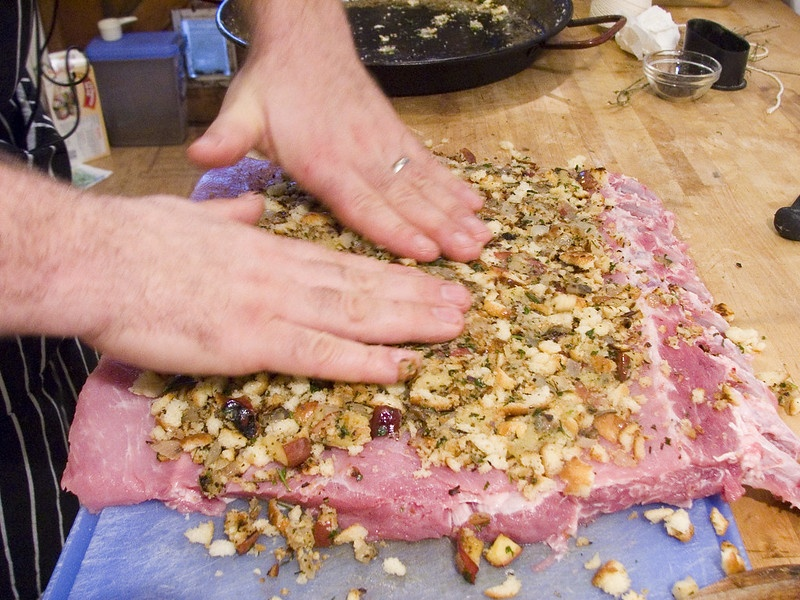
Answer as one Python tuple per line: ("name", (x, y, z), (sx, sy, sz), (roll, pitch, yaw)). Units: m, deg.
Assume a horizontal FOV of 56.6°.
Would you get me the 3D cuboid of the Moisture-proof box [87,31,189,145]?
("Moisture-proof box", (-0.761, -0.635, 2.315), (0.300, 0.293, 0.234), (-1, 19, 5))
